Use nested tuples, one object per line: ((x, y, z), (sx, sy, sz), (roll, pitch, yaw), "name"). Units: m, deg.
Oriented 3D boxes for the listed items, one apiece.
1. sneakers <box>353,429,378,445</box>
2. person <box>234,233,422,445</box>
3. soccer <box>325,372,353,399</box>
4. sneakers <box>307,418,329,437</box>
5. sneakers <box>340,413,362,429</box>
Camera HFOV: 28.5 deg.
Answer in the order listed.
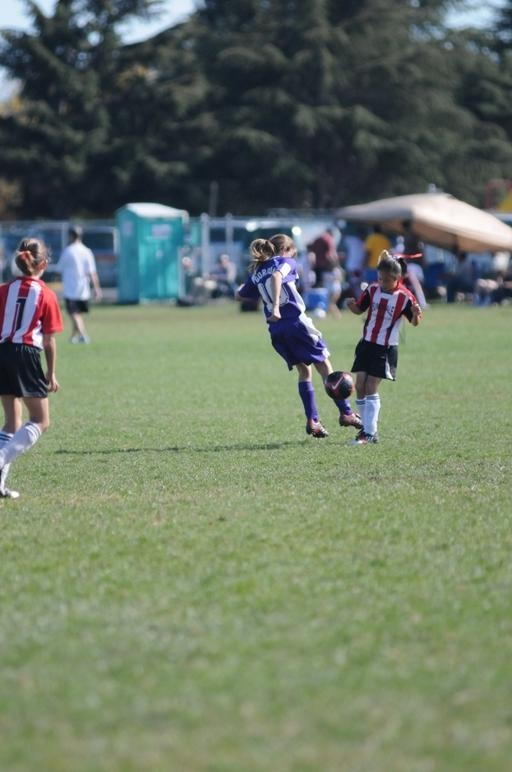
((0.628, 0.307, 5.741), (0.157, 0.067, 0.056), (2, -4, -42), "sneakers")
((0.248, -0.274, 5.863), (0.697, 1.182, 0.557), (-2, 13, -3), "person")
((0.471, -0.008, 5.839), (0.108, 0.101, 0.120), (16, 19, -30), "soccer")
((0.352, 0.243, 5.828), (0.081, 0.056, 0.171), (-1, -13, 23), "sneakers")
((0.561, 0.208, 5.873), (0.169, 0.080, 0.060), (6, -3, -33), "sneakers")
